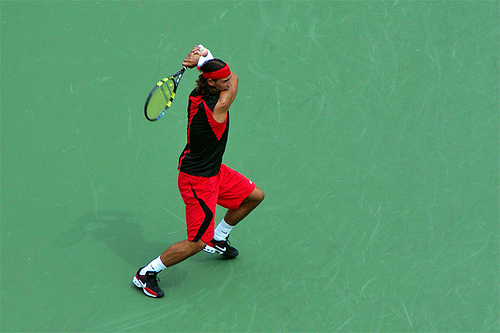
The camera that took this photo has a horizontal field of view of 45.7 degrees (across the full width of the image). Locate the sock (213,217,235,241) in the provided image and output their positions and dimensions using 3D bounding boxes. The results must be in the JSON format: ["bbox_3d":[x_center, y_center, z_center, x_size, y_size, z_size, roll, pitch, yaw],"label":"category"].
[{"bbox_3d":[-0.401,0.921,8.517,0.200,0.118,0.301,39,77,4],"label":"sock"}]
